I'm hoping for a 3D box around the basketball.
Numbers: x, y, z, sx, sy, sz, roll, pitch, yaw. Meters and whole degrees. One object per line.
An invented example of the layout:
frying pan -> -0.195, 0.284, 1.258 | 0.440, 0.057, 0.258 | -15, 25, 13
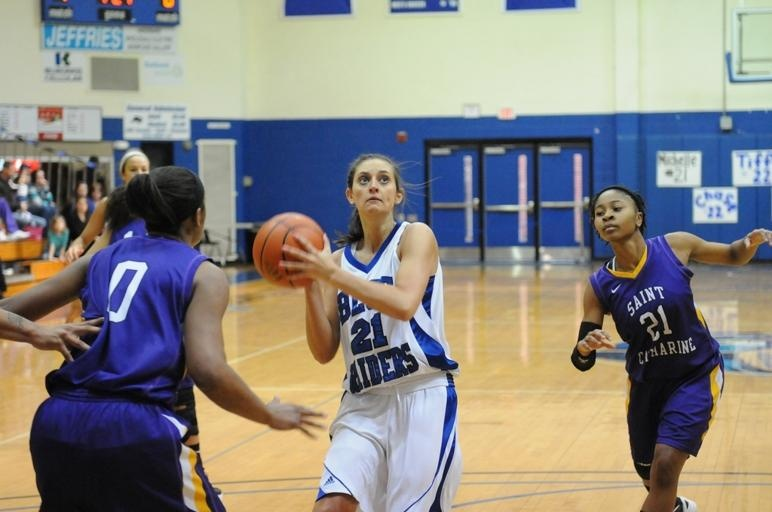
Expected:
basketball -> -0.433, -0.018, 3.604 | 0.346, 0.350, 0.341 | -10, 31, -22
